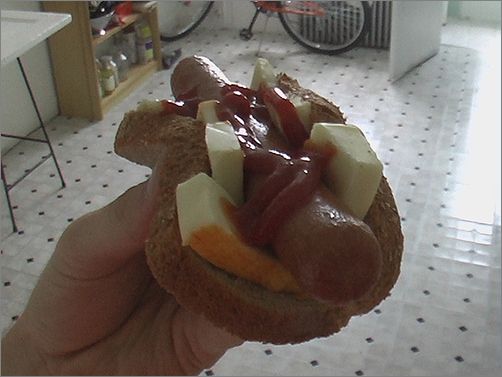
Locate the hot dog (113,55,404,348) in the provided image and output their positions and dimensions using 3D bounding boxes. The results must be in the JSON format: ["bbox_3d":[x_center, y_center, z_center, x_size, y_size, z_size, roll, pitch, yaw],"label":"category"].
[{"bbox_3d":[-0.049,0.129,0.969,0.402,0.237,0.632,-25,57,-19],"label":"hot dog"}]

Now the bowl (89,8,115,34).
[{"bbox_3d":[-1.050,-1.167,3.368,0.145,0.156,0.038,-36,47,-25],"label":"bowl"}]
